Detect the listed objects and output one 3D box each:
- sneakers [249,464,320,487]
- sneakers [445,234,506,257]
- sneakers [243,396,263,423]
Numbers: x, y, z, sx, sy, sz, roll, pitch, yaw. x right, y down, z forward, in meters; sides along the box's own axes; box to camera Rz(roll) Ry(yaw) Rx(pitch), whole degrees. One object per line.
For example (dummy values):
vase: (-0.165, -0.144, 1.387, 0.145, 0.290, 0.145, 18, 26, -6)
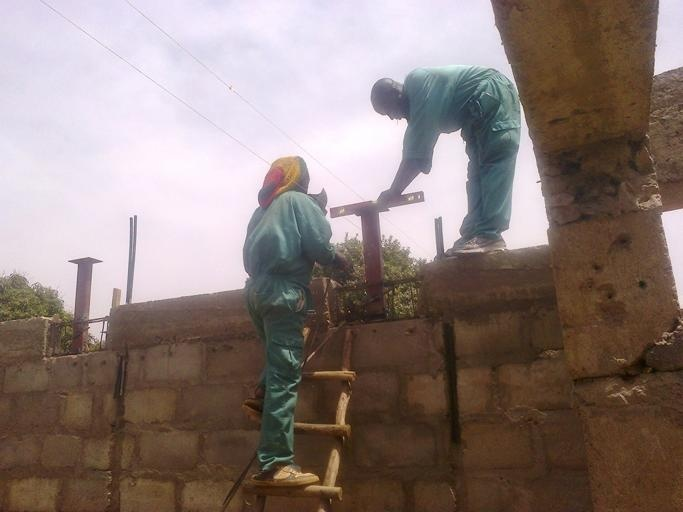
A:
sneakers: (-0.357, 1.376, 3.919, 0.405, 0.166, 0.164, -4, -22, 7)
sneakers: (0.943, -0.058, 4.260, 0.396, 0.179, 0.160, -2, -9, -11)
sneakers: (-0.581, 1.020, 4.128, 0.086, 0.087, 0.206, -11, -38, 23)
